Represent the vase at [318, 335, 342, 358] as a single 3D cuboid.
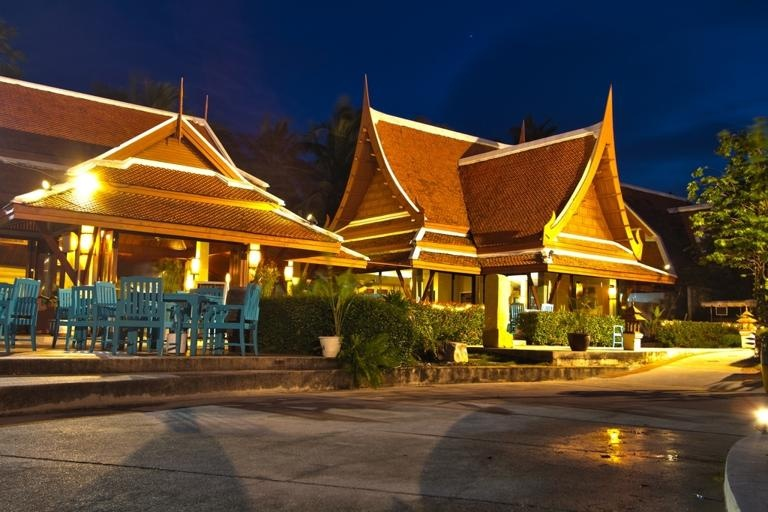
[{"bbox_3d":[-1.184,1.972,12.184,0.421,0.332,0.433,-2,-8,5],"label":"vase"}]
